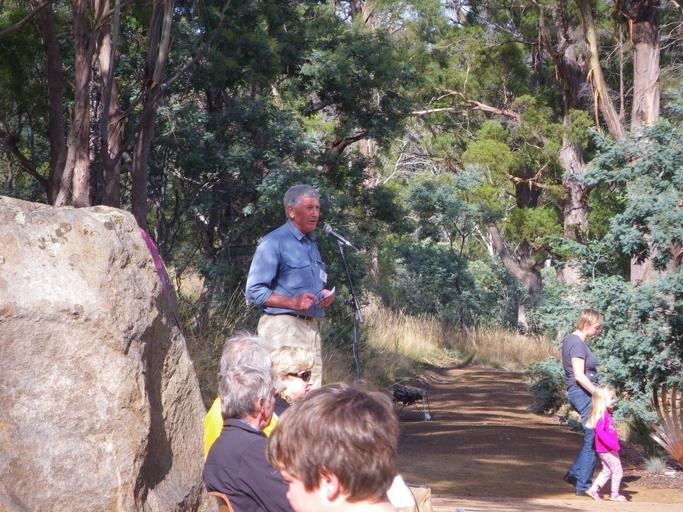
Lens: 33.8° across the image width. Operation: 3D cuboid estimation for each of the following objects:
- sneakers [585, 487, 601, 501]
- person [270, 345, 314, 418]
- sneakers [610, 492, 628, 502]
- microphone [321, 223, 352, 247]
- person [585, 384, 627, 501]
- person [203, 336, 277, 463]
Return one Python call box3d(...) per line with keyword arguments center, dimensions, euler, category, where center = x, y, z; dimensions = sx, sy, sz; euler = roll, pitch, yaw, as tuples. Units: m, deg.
box3d(center=(3.640, 3.447, 16.266), dimensions=(0.218, 0.153, 0.511), euler=(-2, -8, 12), category="sneakers")
box3d(center=(-0.644, 1.530, 13.851), dimensions=(0.533, 0.950, 0.552), euler=(0, 7, 22), category="person")
box3d(center=(3.974, 3.481, 16.183), dimensions=(0.235, 0.113, 0.293), euler=(-2, -7, 6), category="sneakers")
box3d(center=(-0.138, -0.370, 20.485), dimensions=(0.749, 0.213, 0.240), euler=(36, -13, 12), category="microphone")
box3d(center=(3.873, 2.747, 16.544), dimensions=(0.559, 1.667, 1.035), euler=(-2, -6, 14), category="person")
box3d(center=(-1.373, 1.662, 13.484), dimensions=(0.802, 1.555, 0.757), euler=(-1, -11, 28), category="person")
